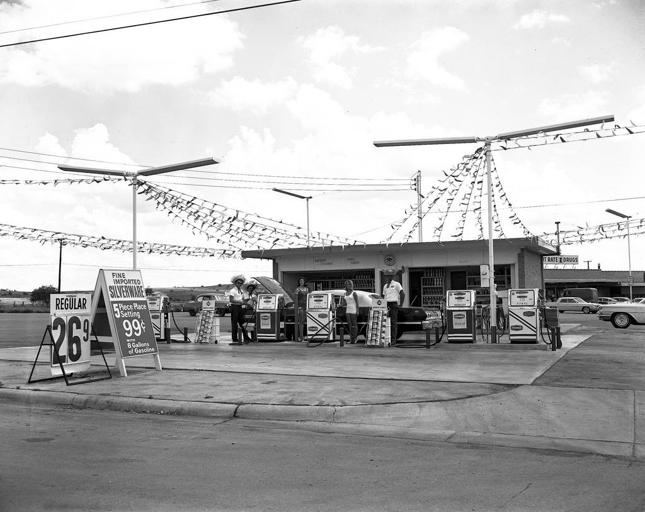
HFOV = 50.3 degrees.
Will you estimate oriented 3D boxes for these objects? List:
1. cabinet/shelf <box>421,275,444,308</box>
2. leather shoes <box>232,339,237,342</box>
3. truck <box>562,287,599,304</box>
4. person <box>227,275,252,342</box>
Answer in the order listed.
[{"bbox_3d":[5.356,1.696,33.058,1.281,2.442,0.688,-1,-7,12],"label":"cabinet/shelf"},{"bbox_3d":[-2.632,2.484,20.433,0.129,0.092,0.069,-1,3,-29],"label":"leather shoes"},{"bbox_3d":[21.775,3.311,57.642,1.190,1.748,3.386,4,-3,-44],"label":"truck"},{"bbox_3d":[-2.523,1.580,20.548,0.545,1.329,2.151,-1,-1,-6],"label":"person"}]
